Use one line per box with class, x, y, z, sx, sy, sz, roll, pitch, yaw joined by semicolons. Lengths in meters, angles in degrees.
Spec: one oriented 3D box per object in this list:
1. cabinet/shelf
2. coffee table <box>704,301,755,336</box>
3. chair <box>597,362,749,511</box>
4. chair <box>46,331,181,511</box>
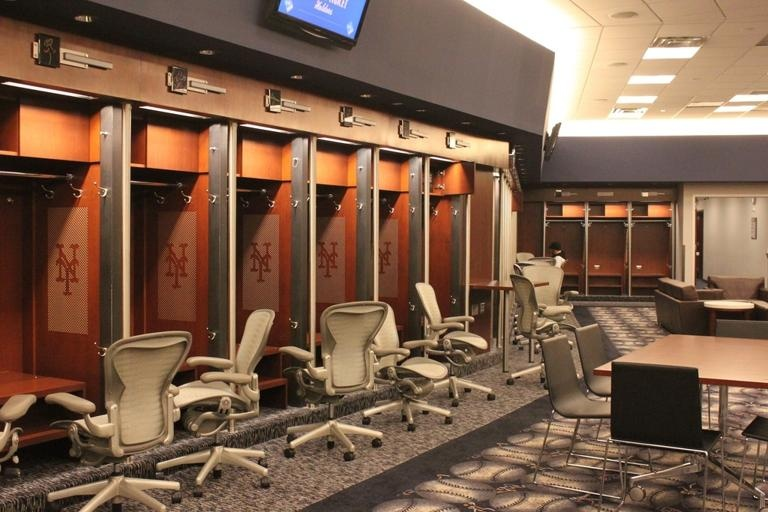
cabinet/shelf;-1.588;1.366;5.900;1.457;1.906;1.463;3;-2;-19
coffee table;5.376;0.951;8.929;0.860;0.584;0.830;1;3;33
chair;2.234;1.413;4.519;0.705;1.114;0.913;0;0;32
chair;-2.024;1.334;4.466;0.975;1.453;0.545;0;0;-17
